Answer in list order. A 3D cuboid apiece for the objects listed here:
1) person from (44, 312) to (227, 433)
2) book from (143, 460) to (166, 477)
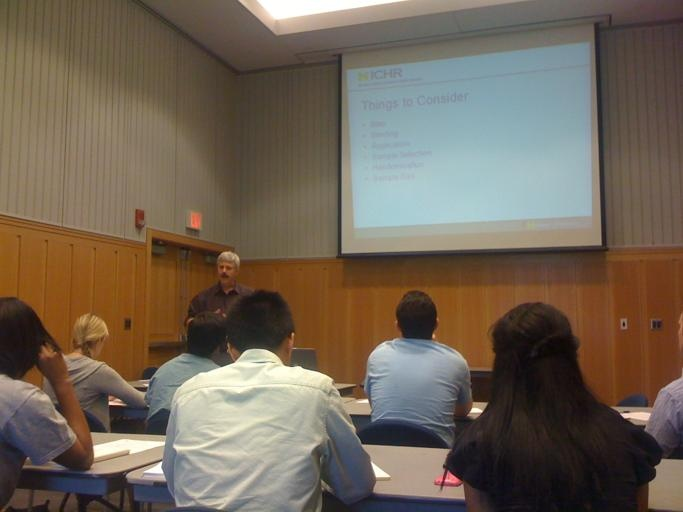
[{"bbox_3d":[-1.169,0.715,3.870,0.555,0.775,1.195,-1,-5,3],"label":"person"},{"bbox_3d":[-0.739,0.853,2.335,0.054,0.020,0.087,1,-3,-8],"label":"book"}]
